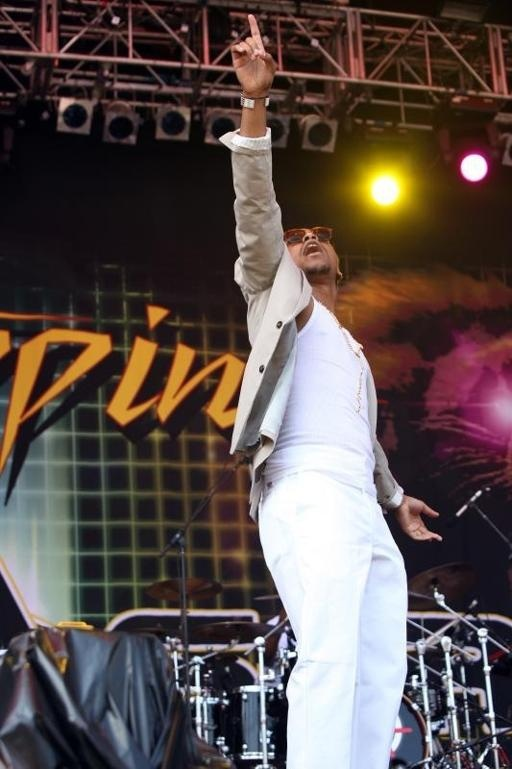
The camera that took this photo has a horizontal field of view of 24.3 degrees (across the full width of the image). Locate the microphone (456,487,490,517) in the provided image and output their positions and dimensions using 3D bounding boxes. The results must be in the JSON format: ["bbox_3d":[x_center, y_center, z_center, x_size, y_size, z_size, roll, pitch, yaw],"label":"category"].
[{"bbox_3d":[1.278,0.689,6.960,0.047,0.232,0.043,54,-22,-8],"label":"microphone"}]

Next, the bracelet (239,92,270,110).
[{"bbox_3d":[0.001,-0.766,3.242,0.075,0.034,0.056,-1,3,-12],"label":"bracelet"}]

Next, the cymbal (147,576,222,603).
[{"bbox_3d":[-0.377,1.064,6.263,0.413,0.135,0.430,2,-14,-5],"label":"cymbal"}]

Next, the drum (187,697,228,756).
[{"bbox_3d":[-0.220,1.590,5.622,0.183,0.258,0.238,2,-14,-3],"label":"drum"}]
